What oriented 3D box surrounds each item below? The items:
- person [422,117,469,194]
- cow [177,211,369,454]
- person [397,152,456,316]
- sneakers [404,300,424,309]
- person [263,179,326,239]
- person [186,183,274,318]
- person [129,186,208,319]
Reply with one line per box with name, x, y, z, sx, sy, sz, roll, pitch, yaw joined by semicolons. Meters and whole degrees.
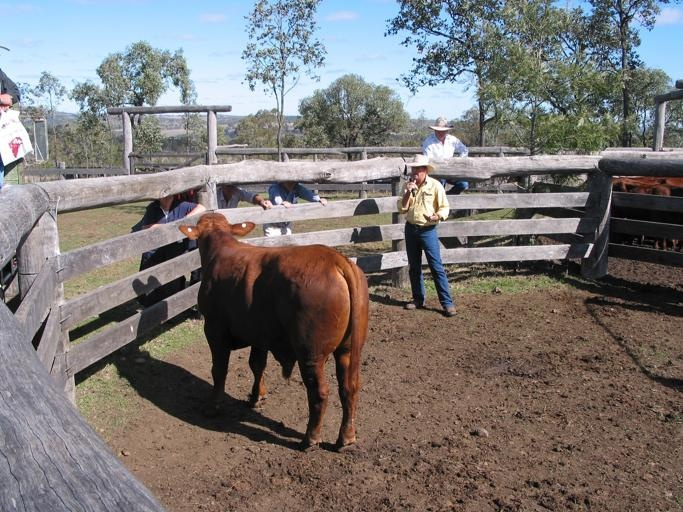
person;1.811;-1.692;8.953;0.817;1.432;0.665;-12;14;-23
cow;-0.532;0.630;4.050;1.566;1.541;0.506;11;17;35
person;1.161;-0.306;6.792;0.915;2.011;0.587;10;16;31
sneakers;0.998;0.660;6.913;0.225;0.111;0.106;6;2;-15
person;-0.764;-0.705;7.207;0.944;0.417;1.378;-11;-20;-17
person;-1.373;-0.093;6.334;0.756;1.817;0.854;5;-6;-13
person;-1.995;-0.106;5.770;0.629;1.748;0.515;-4;42;-25
